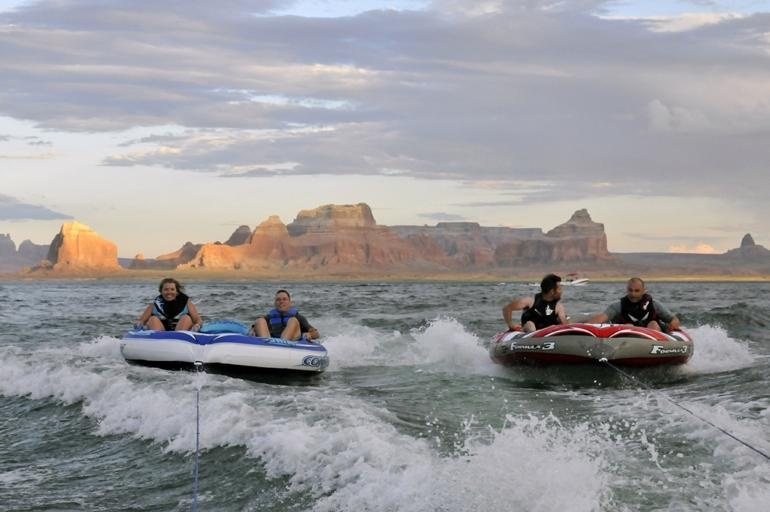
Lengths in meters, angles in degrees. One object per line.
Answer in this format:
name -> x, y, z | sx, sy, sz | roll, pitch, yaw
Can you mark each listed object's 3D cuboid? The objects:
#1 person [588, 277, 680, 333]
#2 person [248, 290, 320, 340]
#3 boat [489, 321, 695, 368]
person -> 5.295, 1.049, 15.141 | 1.381, 0.681, 1.613 | -5, -8, 19
person -> -2.184, 1.482, 15.686 | 1.603, 1.441, 0.897 | 4, -27, -6
boat -> 4.556, 2.037, 16.237 | 4.490, 0.686, 5.166 | -1, -7, 13
